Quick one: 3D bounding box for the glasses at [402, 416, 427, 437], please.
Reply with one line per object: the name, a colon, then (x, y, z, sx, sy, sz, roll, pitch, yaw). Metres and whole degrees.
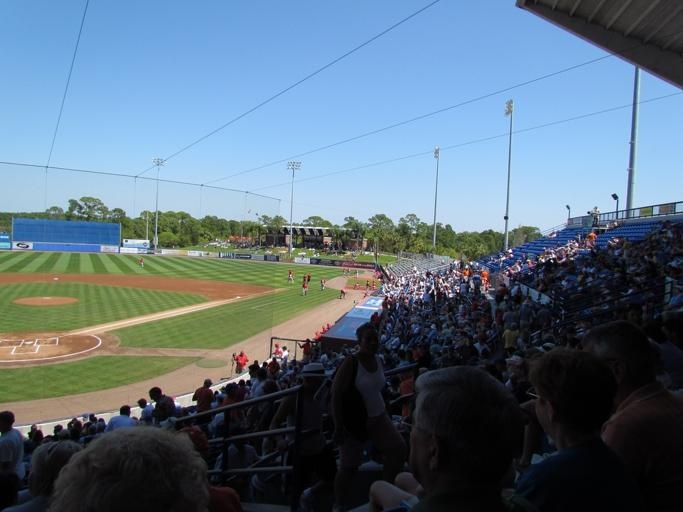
glasses: (0.396, 0.877, 2.646, 0.036, 0.111, 0.142, 0, -3, -23)

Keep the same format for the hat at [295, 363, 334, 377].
hat: (-0.238, 1.079, 4.846, 0.305, 0.118, 0.415, 0, -2, -6)
